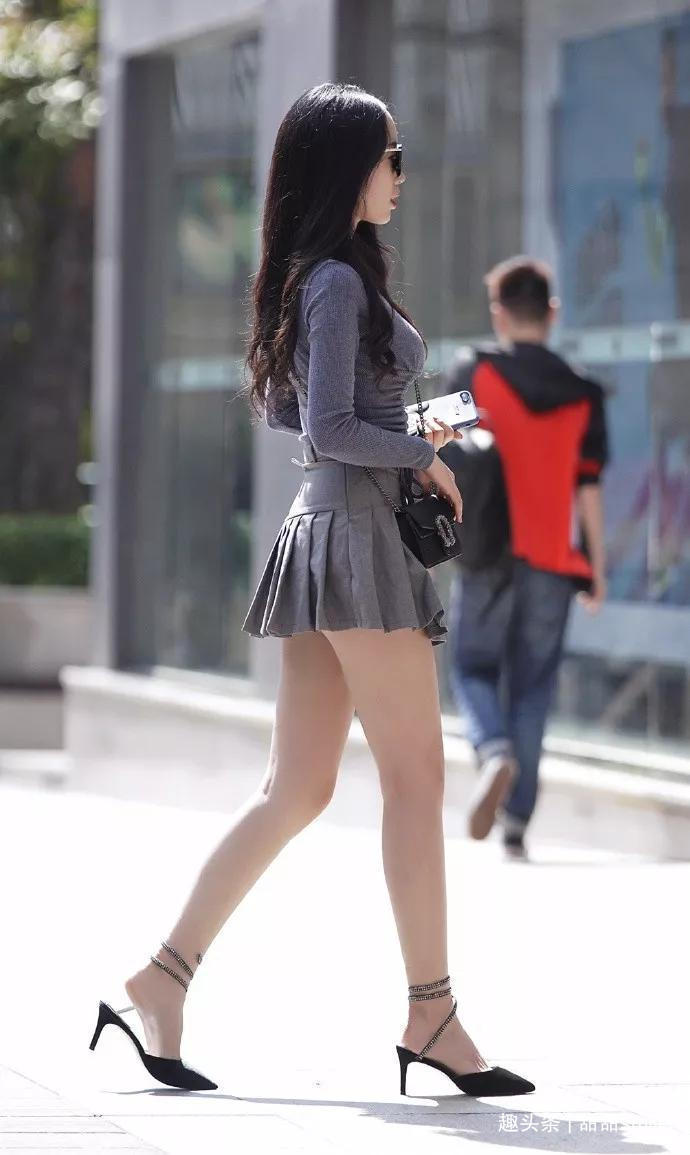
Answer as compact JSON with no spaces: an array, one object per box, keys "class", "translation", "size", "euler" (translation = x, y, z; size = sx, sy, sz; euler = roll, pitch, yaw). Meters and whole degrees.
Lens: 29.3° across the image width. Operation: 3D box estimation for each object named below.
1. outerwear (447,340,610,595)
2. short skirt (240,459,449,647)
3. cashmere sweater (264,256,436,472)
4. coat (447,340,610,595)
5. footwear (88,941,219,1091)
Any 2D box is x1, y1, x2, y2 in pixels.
[{"class":"outerwear","translation":[0.723,-0.425,4.956],"size":[0.331,0.811,0.699],"euler":[-13,19,-43]},{"class":"short skirt","translation":[-0.022,-0.014,2.286],"size":[0.337,0.338,0.303],"euler":[4,-3,35]},{"class":"cashmere sweater","translation":[0.027,-0.377,2.274],"size":[0.232,0.351,0.397],"euler":[-2,16,-2]},{"class":"coat","translation":[0.724,-0.421,4.956],"size":[0.331,0.811,0.699],"euler":[-13,19,-43]},{"class":"footwear","translation":[-0.338,0.720,2.225],"size":[0.086,0.250,0.306],"euler":[-6,9,-43]}]
